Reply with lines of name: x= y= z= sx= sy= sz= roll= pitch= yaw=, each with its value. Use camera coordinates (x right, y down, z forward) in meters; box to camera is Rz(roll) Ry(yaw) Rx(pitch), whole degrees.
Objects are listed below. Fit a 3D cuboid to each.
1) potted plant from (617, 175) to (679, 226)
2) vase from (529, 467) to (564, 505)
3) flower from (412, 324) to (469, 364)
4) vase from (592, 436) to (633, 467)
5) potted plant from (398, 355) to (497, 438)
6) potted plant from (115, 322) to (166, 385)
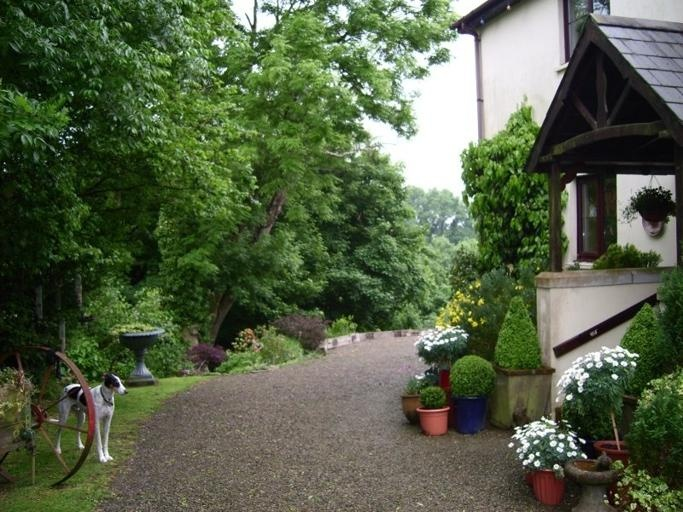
potted plant: x=5.107 y=-0.896 z=10.404 sx=0.660 sy=0.566 sz=0.735 roll=0 pitch=-2 yaw=-14
vase: x=2.456 y=2.739 z=7.400 sx=0.345 sy=0.303 sz=0.376 roll=0 pitch=-8 yaw=2
flower: x=1.691 y=1.522 z=10.338 sx=0.663 sy=0.575 sz=0.776 roll=-21 pitch=-6 yaw=-6
vase: x=3.225 y=2.325 z=7.409 sx=0.362 sy=0.245 sz=0.521 roll=1 pitch=-6 yaw=13
potted plant: x=1.676 y=2.189 z=9.675 sx=0.954 sy=0.917 sz=1.212 roll=3 pitch=-10 yaw=-34
potted plant: x=-4.576 y=2.295 z=14.158 sx=1.022 sy=1.254 sz=1.055 roll=-1 pitch=1 yaw=3
